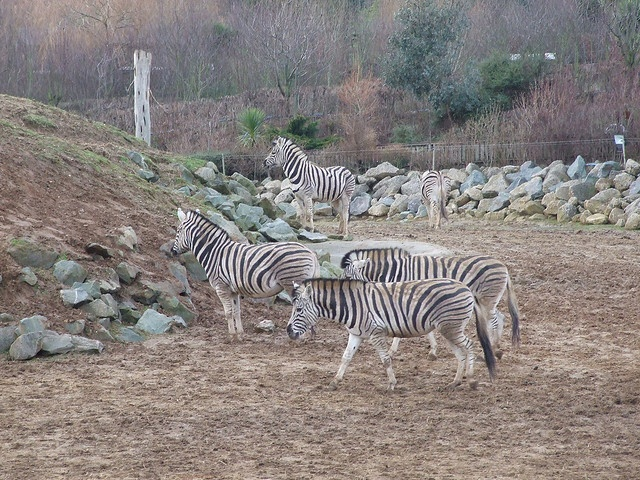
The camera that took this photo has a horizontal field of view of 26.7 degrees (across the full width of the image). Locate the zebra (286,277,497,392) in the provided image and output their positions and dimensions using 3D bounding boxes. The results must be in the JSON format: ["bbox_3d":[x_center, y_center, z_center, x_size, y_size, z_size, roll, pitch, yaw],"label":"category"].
[{"bbox_3d":[1.794,2.812,35.722,3.933,3.510,3.949,3,8,20],"label":"zebra"}]

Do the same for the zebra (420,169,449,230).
[{"bbox_3d":[3.895,-1.301,46.202,0.681,2.185,2.967,0,-8,-7],"label":"zebra"}]

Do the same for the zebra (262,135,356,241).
[{"bbox_3d":[-0.323,-1.721,44.010,3.307,3.123,1.200,4,6,-24],"label":"zebra"}]

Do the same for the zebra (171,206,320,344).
[{"bbox_3d":[-2.148,1.037,37.452,4.334,3.510,1.470,2,11,14],"label":"zebra"}]
